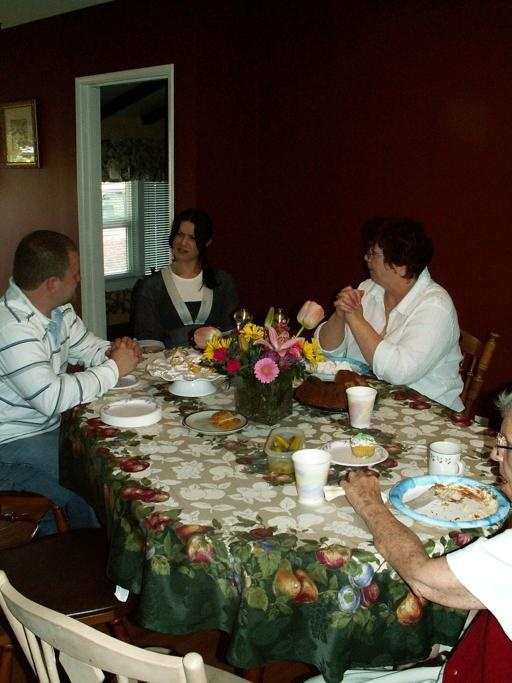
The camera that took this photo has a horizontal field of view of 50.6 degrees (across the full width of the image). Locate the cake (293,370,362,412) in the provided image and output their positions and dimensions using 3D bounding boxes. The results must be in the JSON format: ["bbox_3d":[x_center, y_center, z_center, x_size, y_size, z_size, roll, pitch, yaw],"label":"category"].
[{"bbox_3d":[0.242,0.127,1.671,0.156,0.045,0.147,-20,31,-37],"label":"cake"}]

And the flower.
[{"bbox_3d":[0.019,0.069,1.686,0.389,0.358,0.374,19,29,41],"label":"flower"}]

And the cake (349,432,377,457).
[{"bbox_3d":[0.254,0.246,1.273,0.065,0.057,0.057,1,14,5],"label":"cake"}]

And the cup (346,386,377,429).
[{"bbox_3d":[0.290,0.180,1.492,0.120,0.118,0.110,0,2,0],"label":"cup"}]

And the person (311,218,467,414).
[{"bbox_3d":[0.584,0.081,2.289,0.663,1.095,0.608,-2,13,7],"label":"person"}]

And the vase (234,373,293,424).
[{"bbox_3d":[0.022,0.158,1.517,0.117,0.188,0.117,-11,18,-39],"label":"vase"}]
